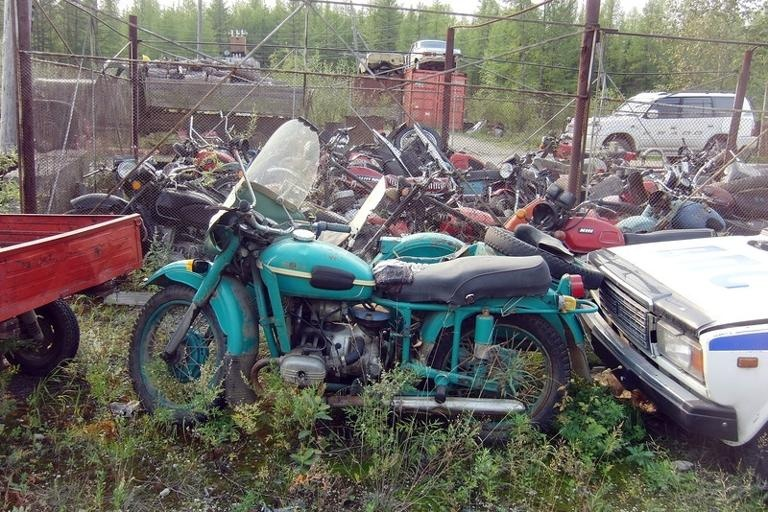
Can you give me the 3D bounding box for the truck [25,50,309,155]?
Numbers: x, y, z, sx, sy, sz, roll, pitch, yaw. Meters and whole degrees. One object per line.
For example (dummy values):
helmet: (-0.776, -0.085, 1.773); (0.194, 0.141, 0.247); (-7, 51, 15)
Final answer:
truck: (-5.977, -3.710, 15.434); (8.264, 2.058, 1.173); (1, 1, 8)
